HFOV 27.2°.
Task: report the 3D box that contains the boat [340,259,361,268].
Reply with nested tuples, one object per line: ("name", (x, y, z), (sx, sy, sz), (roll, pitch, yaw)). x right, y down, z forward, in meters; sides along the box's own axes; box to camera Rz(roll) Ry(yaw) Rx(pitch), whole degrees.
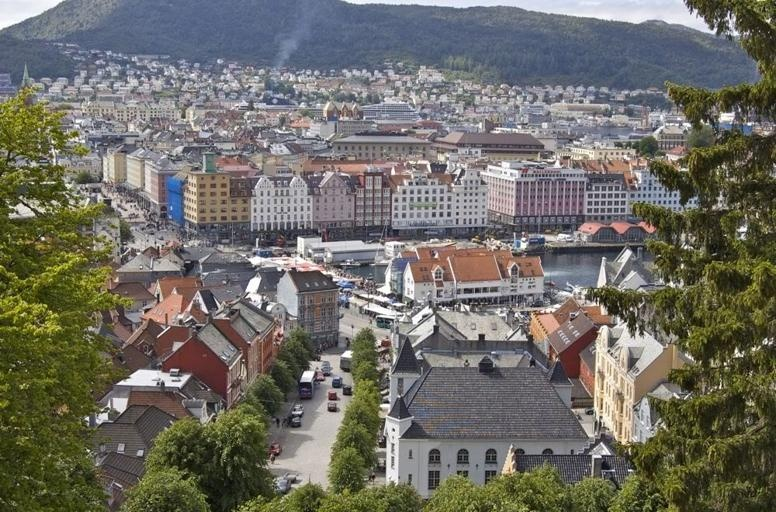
("boat", (-3.752, 0.940, 158.961), (1.614, 0.668, 0.878), (0, 12, -5))

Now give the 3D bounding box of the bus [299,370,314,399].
("bus", (-5.682, 9.129, 110.790), (1.110, 1.548, 1.992), (1, 5, -3))

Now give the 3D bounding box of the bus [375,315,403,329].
("bus", (-0.280, 5.425, 129.857), (1.327, 0.936, 2.134), (2, 5, -1))

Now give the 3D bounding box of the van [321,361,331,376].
("van", (-4.548, 8.327, 116.093), (0.688, 0.869, 1.937), (1, -2, -1))

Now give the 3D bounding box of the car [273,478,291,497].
("car", (-6.321, 13.772, 94.071), (1.067, 0.756, 2.426), (0, 9, -4))
